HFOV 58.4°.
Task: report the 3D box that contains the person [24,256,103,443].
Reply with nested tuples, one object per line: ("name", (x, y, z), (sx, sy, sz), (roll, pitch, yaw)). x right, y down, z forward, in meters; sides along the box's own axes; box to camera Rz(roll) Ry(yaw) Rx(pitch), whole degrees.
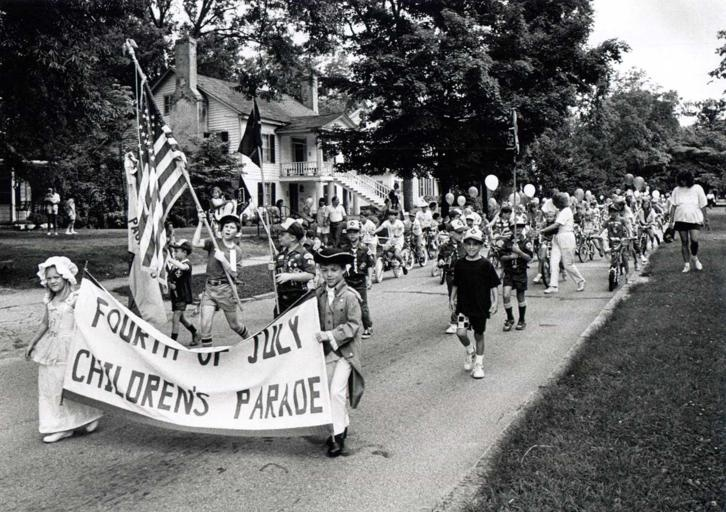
("person", (-3.920, 1.181, 8.400), (0.787, 2.268, 0.671), (-8, 12, -30))

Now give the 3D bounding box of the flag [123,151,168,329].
("flag", (-3.415, -0.176, 9.975), (0.517, 2.681, 1.492), (-5, 11, -20))

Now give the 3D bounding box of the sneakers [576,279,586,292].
("sneakers", (5.518, 0.753, 16.382), (0.172, 0.146, 0.422), (5, 20, 5))

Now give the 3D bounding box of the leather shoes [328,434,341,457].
("leather shoes", (-0.335, 2.336, 7.948), (0.160, 0.298, 0.238), (-1, -6, 7))

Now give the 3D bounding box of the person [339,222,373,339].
("person", (-0.146, 0.439, 12.441), (0.700, 2.177, 0.684), (0, 0, 17))

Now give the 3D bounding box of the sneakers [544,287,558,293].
("sneakers", (4.746, 0.876, 16.362), (0.333, 0.156, 0.139), (1, 0, -3))

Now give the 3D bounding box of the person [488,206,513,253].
("person", (3.452, -0.749, 16.635), (0.827, 0.917, 1.378), (0, 9, 22))

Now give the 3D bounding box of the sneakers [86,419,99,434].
("sneakers", (-3.575, 2.246, 8.553), (0.168, 0.103, 0.044), (-44, 25, -7))

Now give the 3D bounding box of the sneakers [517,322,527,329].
("sneakers", (3.097, 1.358, 12.718), (0.177, 0.159, 0.193), (1, 11, 14))

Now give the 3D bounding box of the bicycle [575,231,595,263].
("bicycle", (7.709, -0.287, 22.420), (0.585, 0.803, 1.258), (-7, -3, 32))

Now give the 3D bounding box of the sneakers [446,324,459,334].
("sneakers", (1.745, 1.436, 12.680), (0.101, 0.118, 0.272), (-13, -6, 25))

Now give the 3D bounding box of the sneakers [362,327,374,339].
("sneakers", (0.088, 1.457, 12.444), (0.201, 0.203, 0.410), (-1, 11, 1))

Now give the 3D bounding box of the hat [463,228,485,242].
("hat", (1.729, -0.311, 10.105), (0.276, 0.255, 0.300), (-1, 11, 5))

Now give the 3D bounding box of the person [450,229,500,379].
("person", (1.751, 0.712, 10.201), (0.754, 2.316, 0.692), (1, 10, 16))

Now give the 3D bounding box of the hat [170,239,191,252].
("hat", (-3.296, -0.198, 11.658), (0.344, 0.150, 0.228), (5, 1, 0))

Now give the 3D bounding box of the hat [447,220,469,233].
("hat", (1.947, -0.600, 13.451), (0.393, 0.224, 0.290), (-12, 1, 44))

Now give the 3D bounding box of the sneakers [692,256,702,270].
("sneakers", (8.771, 0.212, 17.046), (0.153, 0.320, 0.137), (-22, -8, 16))

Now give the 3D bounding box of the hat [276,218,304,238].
("hat", (-1.134, -0.443, 10.487), (0.355, 0.328, 0.567), (-2, 11, -4))

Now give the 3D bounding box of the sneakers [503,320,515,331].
("sneakers", (2.866, 1.358, 12.711), (0.106, 0.151, 0.331), (-21, -2, 27))

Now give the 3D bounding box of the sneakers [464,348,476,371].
("sneakers", (1.703, 1.641, 10.462), (0.167, 0.395, 0.132), (18, -14, -38))

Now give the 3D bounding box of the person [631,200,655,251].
("person", (12.145, -1.683, 27.832), (1.107, 1.621, 2.522), (1, -15, 20))

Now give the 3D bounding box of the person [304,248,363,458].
("person", (-0.286, 1.179, 8.035), (0.558, 2.444, 0.856), (-2, 10, -2))
